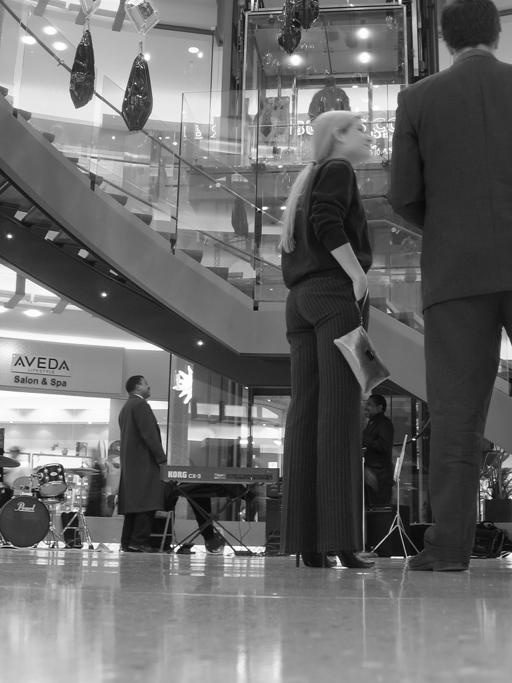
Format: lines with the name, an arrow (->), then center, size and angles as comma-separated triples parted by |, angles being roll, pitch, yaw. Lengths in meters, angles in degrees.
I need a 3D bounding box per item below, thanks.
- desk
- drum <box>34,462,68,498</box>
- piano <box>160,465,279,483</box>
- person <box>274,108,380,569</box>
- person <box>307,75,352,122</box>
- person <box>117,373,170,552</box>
desk -> -0.386, 1.410, 6.118 | 0.554, 0.729, 0.710 | -4, 5, -14
drum -> -1.835, 1.259, 6.697 | 0.304, 0.315, 0.347 | 2, -7, -13
piano -> -0.249, 0.947, 5.286 | 0.855, 0.122, 0.171 | -2, -8, 20
person -> 0.202, -0.051, 2.238 | 0.278, 1.433, 0.435 | 0, -7, 8
person -> 0.826, -2.827, 8.435 | 0.466, 0.298, 0.777 | 0, -12, 4
person -> -0.872, 0.903, 5.753 | 0.356, 1.326, 0.765 | 2, -7, -10
